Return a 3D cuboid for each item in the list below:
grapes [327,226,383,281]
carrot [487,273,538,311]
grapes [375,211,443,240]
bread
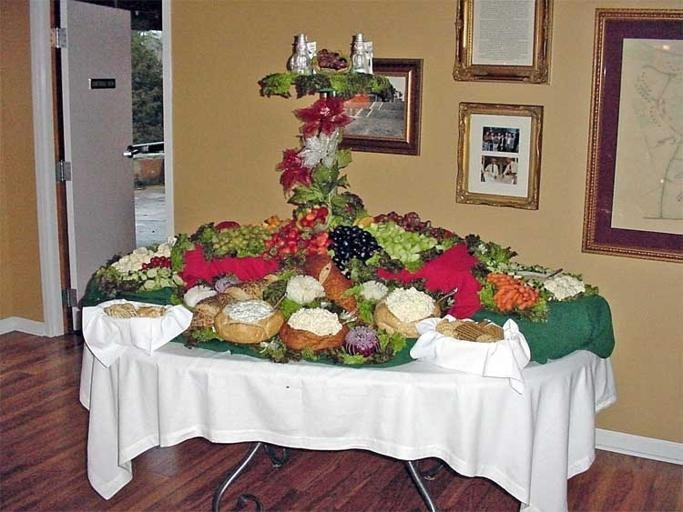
[{"bbox_3d":[0.045,-0.044,2.896,0.211,0.126,0.249,-9,46,-6],"label":"grapes"},{"bbox_3d":[0.767,0.161,2.678,0.184,0.152,0.063,-1,-31,3],"label":"carrot"},{"bbox_3d":[0.386,-0.193,3.179,0.175,0.102,0.275,12,3,-33],"label":"grapes"},{"bbox_3d":[-0.118,0.258,2.641,1.196,0.184,0.654,0,12,5],"label":"bread"}]
